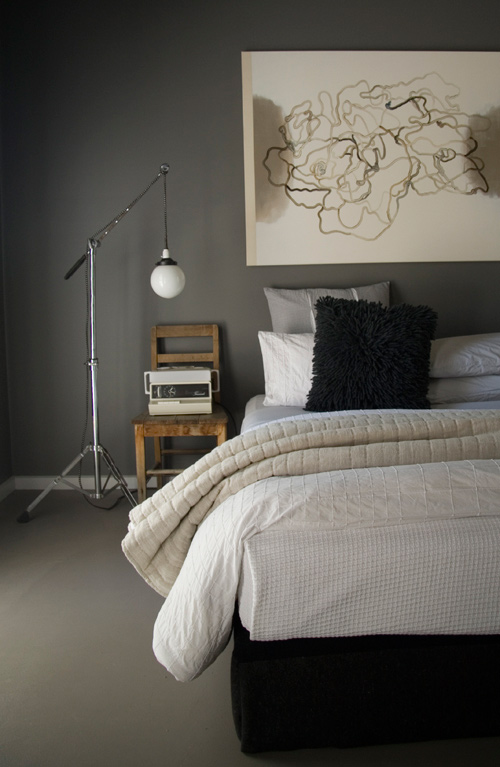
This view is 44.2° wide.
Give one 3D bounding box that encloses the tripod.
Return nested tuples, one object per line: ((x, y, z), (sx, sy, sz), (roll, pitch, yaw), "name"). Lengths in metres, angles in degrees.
((-0.851, -0.021, 3.016), (0.528, 1.285, 0.651), (-3, 8, -12), "tripod")

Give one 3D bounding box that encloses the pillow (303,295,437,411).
((0.465, -0.108, 2.388), (0.426, 0.469, 0.165), (-2, -14, 9), "pillow")

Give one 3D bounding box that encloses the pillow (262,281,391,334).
((0.348, -0.348, 2.819), (0.314, 0.207, 0.083), (0, -24, -4), "pillow")

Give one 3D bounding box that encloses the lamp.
((-0.647, -0.185, 3.027), (0.736, 1.749, 0.774), (-9, -15, 18), "lamp")

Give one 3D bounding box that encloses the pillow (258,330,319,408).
((0.165, -0.059, 2.735), (0.280, 0.299, 0.084), (-1, -8, 35), "pillow")
